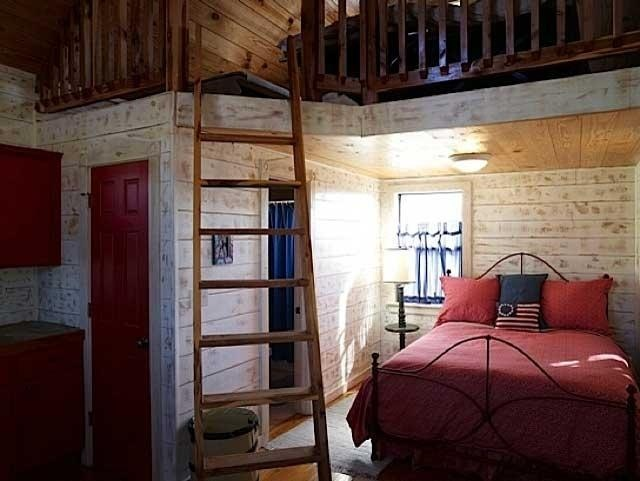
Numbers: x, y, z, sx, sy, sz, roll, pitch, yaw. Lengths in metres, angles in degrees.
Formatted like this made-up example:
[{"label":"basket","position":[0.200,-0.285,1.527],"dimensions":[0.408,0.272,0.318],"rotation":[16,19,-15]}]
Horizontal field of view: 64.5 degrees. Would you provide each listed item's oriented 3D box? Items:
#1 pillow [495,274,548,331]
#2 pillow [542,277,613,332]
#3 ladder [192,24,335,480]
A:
[{"label":"pillow","position":[1.994,0.627,4.999],"dimensions":[0.485,0.549,0.230],"rotation":[0,-37,28]},{"label":"pillow","position":[2.484,0.637,4.909],"dimensions":[0.520,0.371,0.181],"rotation":[0,-23,17]},{"label":"ladder","position":[-0.439,0.177,3.368],"dimensions":[0.883,3.189,1.174],"rotation":[-1,2,-7]}]
